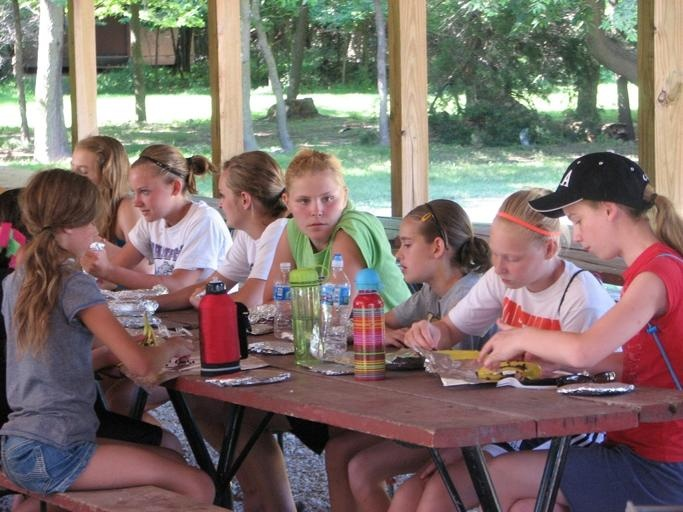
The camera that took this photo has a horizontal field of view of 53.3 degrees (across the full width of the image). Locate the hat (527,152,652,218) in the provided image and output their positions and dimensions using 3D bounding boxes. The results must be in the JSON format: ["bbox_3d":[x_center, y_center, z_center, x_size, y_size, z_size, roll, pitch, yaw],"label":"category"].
[{"bbox_3d":[0.725,-0.211,1.980,0.306,0.123,0.180,4,3,17],"label":"hat"}]
